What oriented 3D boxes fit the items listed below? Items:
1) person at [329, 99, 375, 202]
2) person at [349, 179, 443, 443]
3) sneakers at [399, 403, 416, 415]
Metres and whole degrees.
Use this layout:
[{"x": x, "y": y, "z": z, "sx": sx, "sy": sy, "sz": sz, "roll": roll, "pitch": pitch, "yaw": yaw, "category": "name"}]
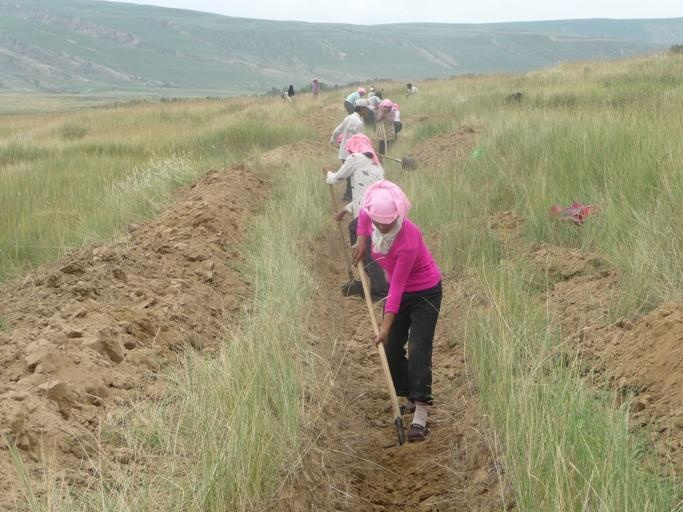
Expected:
[{"x": 0.091, "y": -1.927, "z": 12.399, "sx": 0.582, "sy": 1.726, "sz": 0.525, "roll": 10, "pitch": 5, "yaw": 27, "category": "person"}, {"x": 0.621, "y": 0.491, "z": 7.113, "sx": 0.775, "sy": 2.445, "sz": 1.430, "roll": -14, "pitch": 26, "yaw": -26, "category": "person"}, {"x": 0.730, "y": 1.661, "z": 7.352, "sx": 0.121, "sy": 0.130, "sz": 0.112, "roll": 0, "pitch": -3, "yaw": 2, "category": "sneakers"}]
